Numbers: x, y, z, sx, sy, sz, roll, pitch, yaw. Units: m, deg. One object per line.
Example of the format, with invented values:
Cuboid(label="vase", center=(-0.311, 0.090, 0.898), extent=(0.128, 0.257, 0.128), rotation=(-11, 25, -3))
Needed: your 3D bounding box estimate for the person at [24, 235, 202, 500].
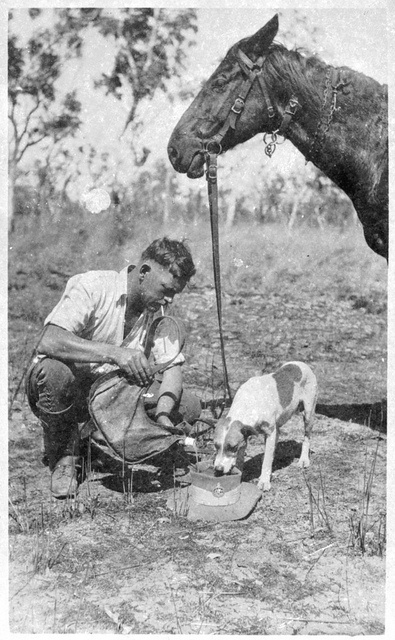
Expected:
Cuboid(label="person", center=(-0.380, 0.201, 4.226), extent=(0.811, 1.309, 0.776), rotation=(3, 5, -21))

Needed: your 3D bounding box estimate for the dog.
Cuboid(label="dog", center=(0.367, 0.501, 4.157), extent=(0.220, 0.523, 0.789), rotation=(12, 21, 43))

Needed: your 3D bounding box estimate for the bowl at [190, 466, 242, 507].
Cuboid(label="bowl", center=(0.088, 0.751, 3.813), extent=(0.227, 0.166, 0.188), rotation=(2, 5, 1))

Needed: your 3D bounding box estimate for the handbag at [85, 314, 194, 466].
Cuboid(label="handbag", center=(-0.252, 0.308, 4.110), extent=(0.512, 0.814, 0.255), rotation=(17, -33, 3))

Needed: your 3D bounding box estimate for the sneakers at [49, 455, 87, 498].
Cuboid(label="sneakers", center=(-0.606, 0.724, 3.968), extent=(0.155, 0.179, 0.314), rotation=(1, 5, -8))
